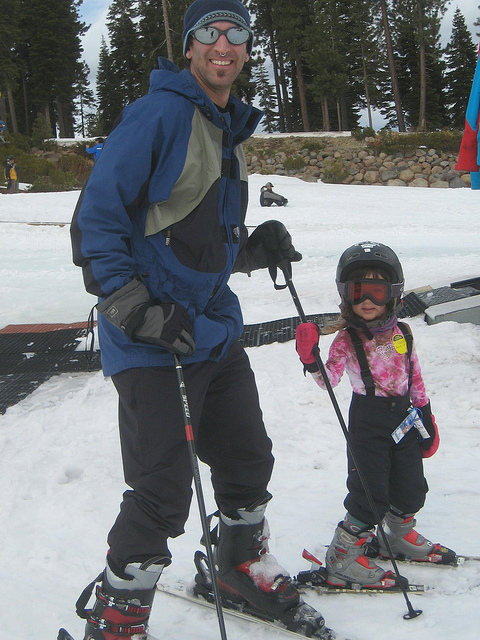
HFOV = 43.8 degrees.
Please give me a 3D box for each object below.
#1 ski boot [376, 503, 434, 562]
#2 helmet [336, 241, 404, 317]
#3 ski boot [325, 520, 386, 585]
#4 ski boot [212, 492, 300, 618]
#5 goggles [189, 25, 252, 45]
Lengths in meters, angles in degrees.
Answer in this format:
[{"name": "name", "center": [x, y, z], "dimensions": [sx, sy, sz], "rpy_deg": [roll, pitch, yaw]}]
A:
[{"name": "ski boot", "center": [0.655, 0.842, 2.407], "dimensions": [0.091, 0.233, 0.238], "rpy_deg": [-14, 13, -43]}, {"name": "helmet", "center": [0.465, -0.180, 2.433], "dimensions": [0.283, 0.293, 0.317], "rpy_deg": [-5, 18, 11]}, {"name": "ski boot", "center": [0.468, 0.898, 2.259], "dimensions": [0.280, 0.240, 0.102], "rpy_deg": [-8, -30, 44]}, {"name": "ski boot", "center": [0.049, 0.801, 2.090], "dimensions": [0.303, 0.419, 0.117], "rpy_deg": [2, 12, 38]}, {"name": "goggles", "center": [-0.052, -0.934, 1.976], "dimensions": [0.213, 0.070, 0.099], "rpy_deg": [-5, 8, -11]}]
